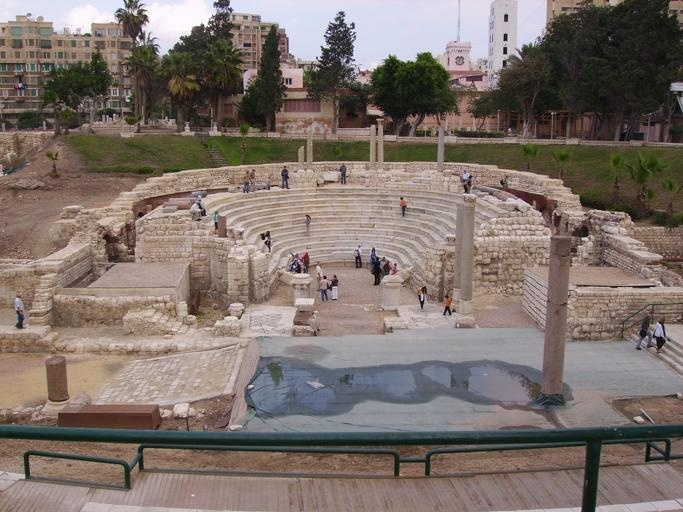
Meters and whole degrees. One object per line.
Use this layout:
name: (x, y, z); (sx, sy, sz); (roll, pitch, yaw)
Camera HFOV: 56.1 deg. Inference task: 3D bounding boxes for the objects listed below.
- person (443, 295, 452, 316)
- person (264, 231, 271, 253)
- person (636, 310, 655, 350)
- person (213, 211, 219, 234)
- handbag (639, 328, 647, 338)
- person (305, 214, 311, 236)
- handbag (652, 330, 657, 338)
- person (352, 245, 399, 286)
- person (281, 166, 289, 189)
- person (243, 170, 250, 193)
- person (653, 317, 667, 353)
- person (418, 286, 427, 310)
person: (4.273, 1.963, 25.690); (0.328, 0.695, 0.717); (5, 11, 10)
person: (-3.731, -0.761, 32.380); (0.387, 0.981, 1.636); (2, 11, -7)
person: (10.436, 2.506, 21.938); (0.469, 0.985, 1.916); (9, 13, 26)
person: (-6.083, -1.587, 30.970); (0.241, 0.828, 0.829); (1, 12, -14)
handbag: (10.171, 2.590, 21.609); (0.207, 0.330, 0.246); (-9, 30, 2)
person: (-1.927, -1.828, 36.162); (0.398, 1.058, 1.192); (3, 11, -4)
handbag: (10.195, 2.541, 20.914); (0.189, 0.256, 0.079); (3, -19, -5)
person: (1.591, 0.423, 32.260); (1.489, 0.896, 2.488); (-8, 13, -27)
person: (-3.568, -4.885, 40.328); (0.394, 1.233, 0.702); (1, 12, -13)
person: (-5.759, -4.455, 38.761); (0.371, 1.117, 1.290); (2, 11, -8)
person: (10.380, 2.598, 20.882); (0.372, 0.923, 0.712); (10, 13, 31)
person: (3.339, 1.671, 26.440); (0.292, 0.976, 0.762); (4, 11, 4)
